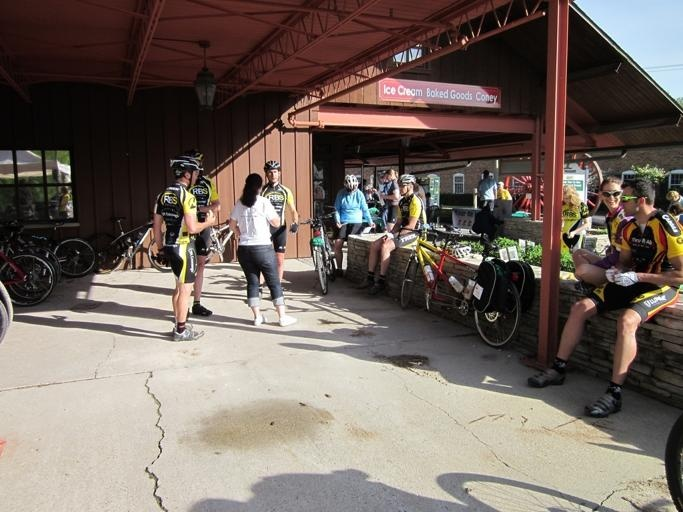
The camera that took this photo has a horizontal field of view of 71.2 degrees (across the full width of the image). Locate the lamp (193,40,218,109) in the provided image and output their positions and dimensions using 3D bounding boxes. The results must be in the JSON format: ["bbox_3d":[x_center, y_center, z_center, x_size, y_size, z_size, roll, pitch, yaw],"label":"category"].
[{"bbox_3d":[-2.414,-3.152,8.454,0.328,1.020,1.331,-3,12,-15],"label":"lamp"}]

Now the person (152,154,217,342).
[{"bbox_3d":[-1.913,-0.079,5.798,0.691,2.218,0.413,-2,9,-13],"label":"person"}]

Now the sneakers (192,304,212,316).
[{"bbox_3d":[-2.042,0.792,6.956,0.271,0.130,0.149,6,5,-12],"label":"sneakers"}]

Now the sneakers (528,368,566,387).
[{"bbox_3d":[2.031,1.189,4.773,0.399,0.191,0.154,-2,2,-7],"label":"sneakers"}]

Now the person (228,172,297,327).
[{"bbox_3d":[-1.092,-0.045,6.294,0.749,2.025,0.375,2,9,12],"label":"person"}]

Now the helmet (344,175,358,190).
[{"bbox_3d":[0.185,-1.480,9.088,0.200,0.305,0.236,1,-30,-3],"label":"helmet"}]

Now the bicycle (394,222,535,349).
[{"bbox_3d":[1.606,0.366,6.258,0.736,0.970,1.977,5,13,-19],"label":"bicycle"}]

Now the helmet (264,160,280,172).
[{"bbox_3d":[-1.126,-1.455,7.774,0.209,0.146,0.261,0,12,0],"label":"helmet"}]

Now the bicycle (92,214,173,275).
[{"bbox_3d":[-4.232,-0.231,9.453,1.816,1.268,0.947,-6,8,-19],"label":"bicycle"}]

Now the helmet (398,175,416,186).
[{"bbox_3d":[1.034,-1.207,7.507,0.213,0.130,0.168,8,29,-10],"label":"helmet"}]

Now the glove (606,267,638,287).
[{"bbox_3d":[2.555,0.178,4.343,0.195,0.111,0.168,5,8,13],"label":"glove"}]

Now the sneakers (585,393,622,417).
[{"bbox_3d":[2.329,1.303,4.238,0.384,0.198,0.145,-3,1,-28],"label":"sneakers"}]
